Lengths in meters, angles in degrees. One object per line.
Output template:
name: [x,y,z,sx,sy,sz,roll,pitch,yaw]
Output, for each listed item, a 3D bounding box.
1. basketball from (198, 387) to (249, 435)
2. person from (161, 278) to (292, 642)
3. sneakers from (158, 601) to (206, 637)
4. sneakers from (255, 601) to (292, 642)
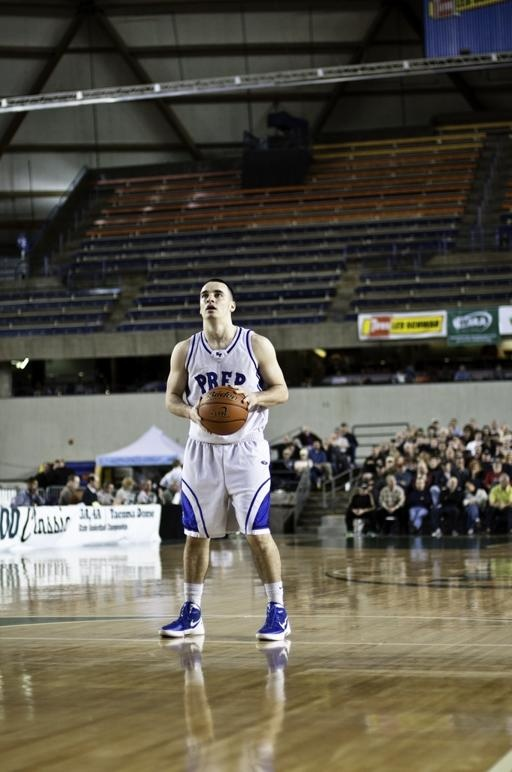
basketball: [-0.133,0.106,4.501,0.227,0.214,0.176,-2,-7,-14]
person: [-0.138,0.291,4.726,0.568,1.548,0.568,-4,-7,4]
sneakers: [-0.303,0.969,4.548,0.134,0.136,0.252,-7,-8,26]
sneakers: [0.067,0.956,4.461,0.136,0.139,0.248,-4,-7,1]
